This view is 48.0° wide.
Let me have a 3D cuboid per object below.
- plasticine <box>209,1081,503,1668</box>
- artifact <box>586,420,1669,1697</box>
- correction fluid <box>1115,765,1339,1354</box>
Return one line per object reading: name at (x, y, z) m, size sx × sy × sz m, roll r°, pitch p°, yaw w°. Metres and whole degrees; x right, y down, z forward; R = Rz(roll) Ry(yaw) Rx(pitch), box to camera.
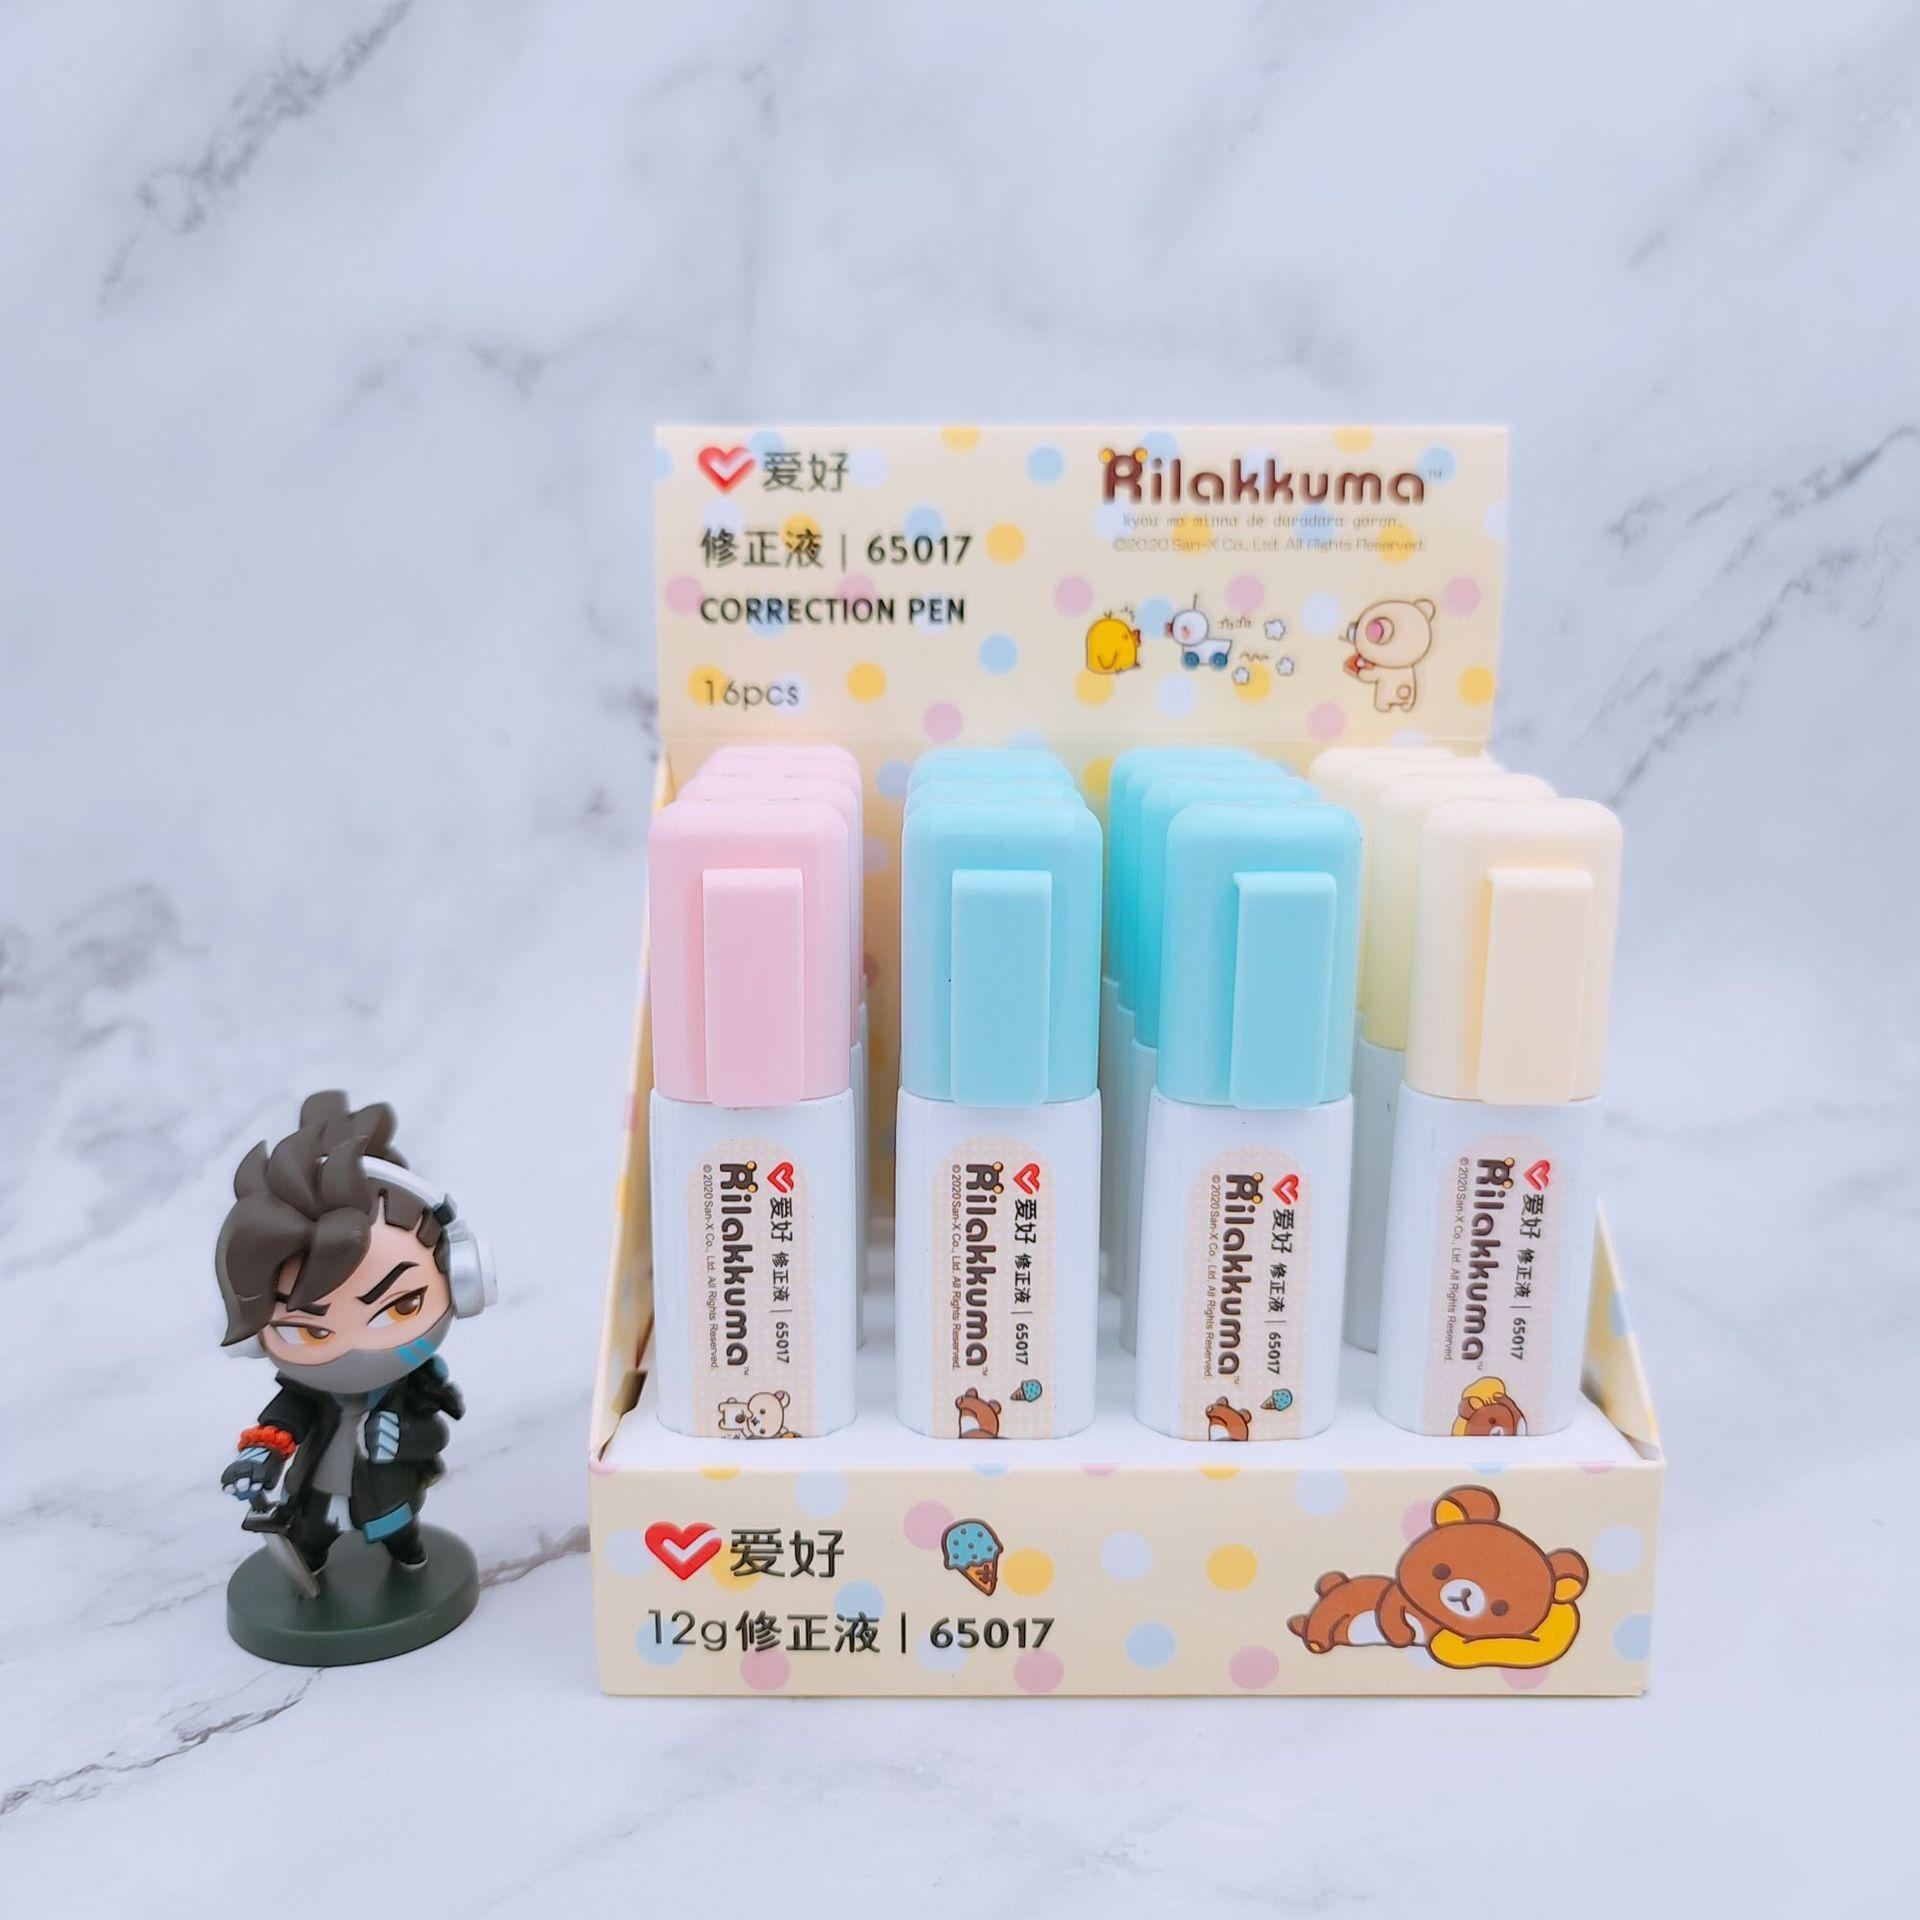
plasticine at (-0.365, 0.238, 1.242) m, size 0.142 × 0.299 × 0.178 m, roll 3°, pitch 7°, yaw 41°
artifact at (0.084, 0.067, 1.295) m, size 0.687 × 0.663 × 0.555 m, roll 2°, pitch 19°, yaw -1°
correction fluid at (0.171, 0.101, 1.326) m, size 0.137 × 0.454 × 0.103 m, roll 2°, pitch 28°, yaw 2°
